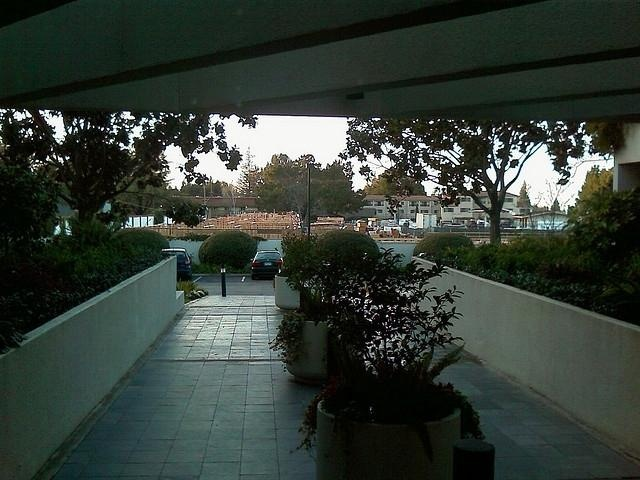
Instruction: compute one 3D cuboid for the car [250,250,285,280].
[{"bbox_3d":[-2.459,1.186,23.004,1.113,0.936,2.547,0,5,-3],"label":"car"}]
